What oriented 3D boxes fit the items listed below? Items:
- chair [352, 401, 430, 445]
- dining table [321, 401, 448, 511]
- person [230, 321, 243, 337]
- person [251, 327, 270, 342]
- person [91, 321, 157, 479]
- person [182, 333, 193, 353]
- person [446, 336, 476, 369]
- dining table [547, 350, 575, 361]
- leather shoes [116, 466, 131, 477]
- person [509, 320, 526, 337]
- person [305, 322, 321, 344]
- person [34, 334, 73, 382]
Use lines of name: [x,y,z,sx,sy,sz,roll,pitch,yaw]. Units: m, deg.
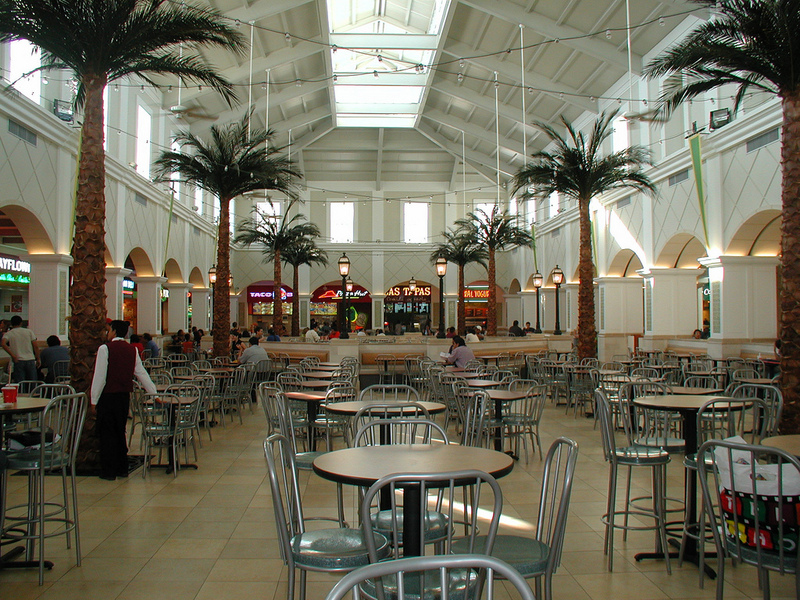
chair: [-0.175,1.267,7.349,0.852,0.564,0.852,0,-3,-24]
dining table: [-0.207,1.640,7.464,1.014,0.678,1.036,0,-5,-2]
person: [-6.967,1.235,28.609,0.309,0.985,0.308,10,22,43]
person: [-4.471,1.100,21.568,0.520,0.246,0.752,1,-5,-12]
person: [-3.797,1.474,9.128,0.730,1.894,0.639,2,-4,-31]
person: [-6.852,1.395,21.760,0.317,0.658,0.979,1,-4,-16]
person: [1.244,1.082,13.952,0.559,0.694,1.159,0,-4,-1]
dining table: [4.765,1.672,20.122,0.537,0.233,5.330,-1,-4,11]
leather shoes: [-3.846,2.387,9.370,0.075,0.130,0.132,1,-7,0]
person: [5.118,1.237,29.317,0.491,1.122,0.296,-1,-7,-4]
person: [-3.312,1.244,25.450,0.309,0.821,0.415,3,14,16]
person: [-7.206,1.354,14.054,0.683,1.246,0.523,26,24,36]
